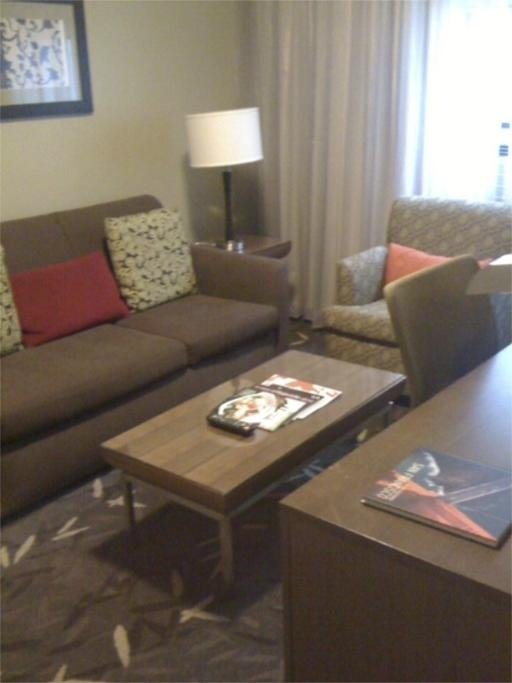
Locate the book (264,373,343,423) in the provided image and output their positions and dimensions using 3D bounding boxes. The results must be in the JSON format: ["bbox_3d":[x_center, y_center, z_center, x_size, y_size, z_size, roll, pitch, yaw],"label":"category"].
[{"bbox_3d":[0.074,0.076,0.809,0.080,0.004,0.073,17,28,35],"label":"book"}]
